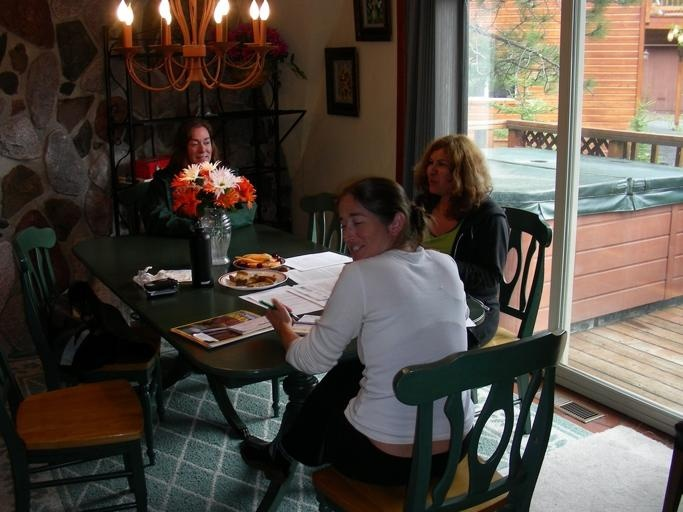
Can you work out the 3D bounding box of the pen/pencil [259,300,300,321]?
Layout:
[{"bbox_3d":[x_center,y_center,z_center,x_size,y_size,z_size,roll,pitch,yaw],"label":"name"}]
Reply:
[{"bbox_3d":[-0.229,0.203,2.015,0.152,0.028,0.022,28,67,41],"label":"pen/pencil"}]

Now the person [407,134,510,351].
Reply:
[{"bbox_3d":[0.516,-0.096,2.698,0.588,0.937,0.582,-17,21,-38],"label":"person"}]

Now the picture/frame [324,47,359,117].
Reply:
[{"bbox_3d":[0.008,-1.311,4.057,0.067,0.564,0.459,-14,21,-35],"label":"picture/frame"}]

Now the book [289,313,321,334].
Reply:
[{"bbox_3d":[-0.139,0.231,1.951,0.079,0.020,0.087,1,13,18],"label":"book"}]

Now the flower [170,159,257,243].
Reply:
[{"bbox_3d":[-0.612,-0.280,2.676,0.364,0.326,0.365,-2,10,3],"label":"flower"}]
